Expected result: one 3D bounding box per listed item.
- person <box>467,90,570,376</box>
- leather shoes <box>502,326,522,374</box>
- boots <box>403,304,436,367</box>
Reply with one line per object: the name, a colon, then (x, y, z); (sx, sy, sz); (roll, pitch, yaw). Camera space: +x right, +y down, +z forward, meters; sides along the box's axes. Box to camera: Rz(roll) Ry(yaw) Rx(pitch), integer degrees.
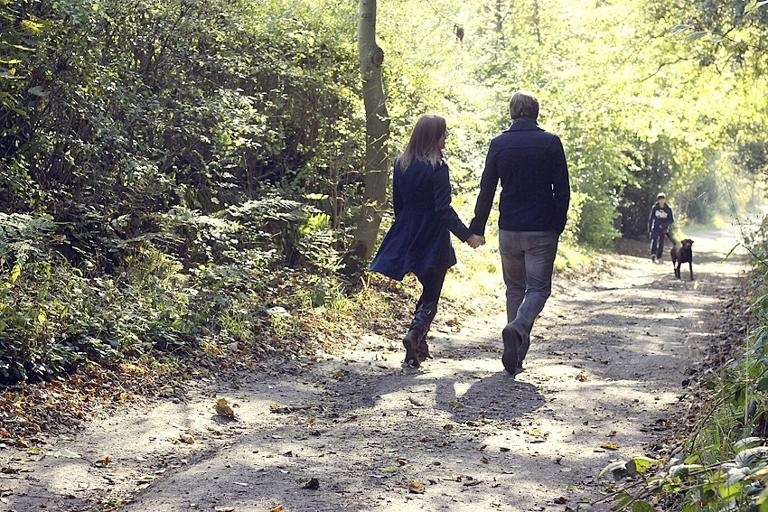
person: (1.801, -0.314, 11.502); (1.182, 3.657, 1.017); (-13, 17, -42)
leather shoes: (1.690, 1.227, 11.185); (0.239, 0.684, 0.282); (7, 27, 32)
boots: (0.475, 1.096, 11.853); (0.327, 0.432, 1.057); (14, -22, 16)
